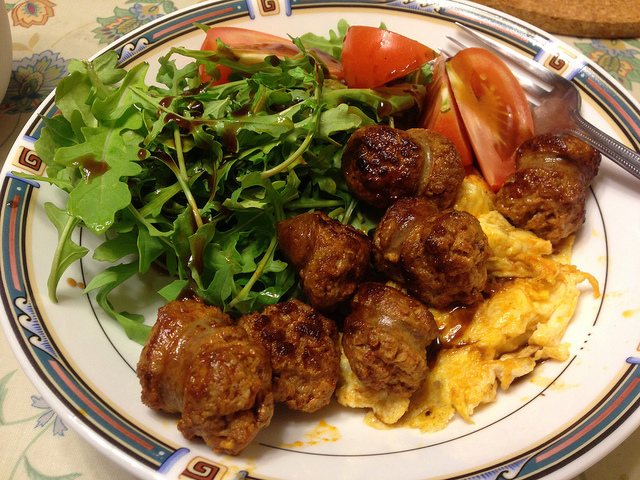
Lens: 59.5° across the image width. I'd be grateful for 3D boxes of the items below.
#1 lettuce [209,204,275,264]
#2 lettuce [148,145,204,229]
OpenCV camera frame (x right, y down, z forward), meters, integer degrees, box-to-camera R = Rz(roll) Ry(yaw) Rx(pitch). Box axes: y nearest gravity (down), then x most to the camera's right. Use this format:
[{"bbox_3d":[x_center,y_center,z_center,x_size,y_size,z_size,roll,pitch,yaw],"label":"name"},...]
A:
[{"bbox_3d":[-0.531,-0.063,3.890,0.428,0.129,0.332,-41,95,12],"label":"lettuce"},{"bbox_3d":[-0.902,-0.399,3.674,0.269,0.368,0.575,7,108,19],"label":"lettuce"}]
